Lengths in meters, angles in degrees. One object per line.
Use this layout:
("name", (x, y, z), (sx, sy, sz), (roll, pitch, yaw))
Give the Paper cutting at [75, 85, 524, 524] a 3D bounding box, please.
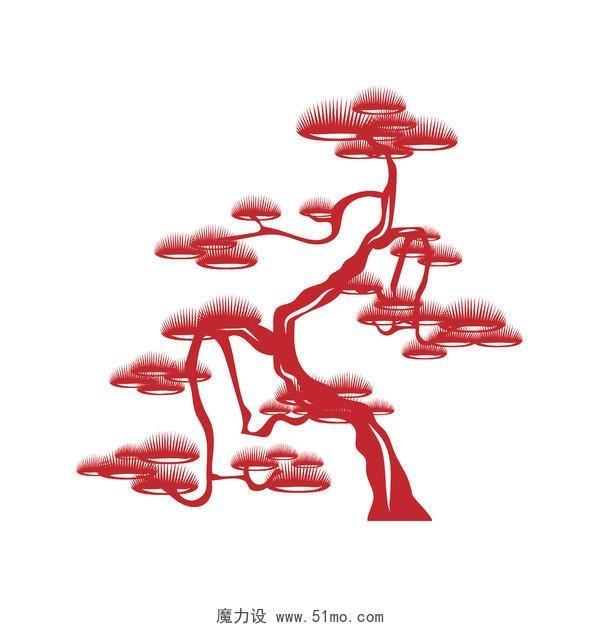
("Paper cutting", (-0.126, 0.057, 6.903), (3.312, 3.445, 1.098), (-3, 15, -10))
